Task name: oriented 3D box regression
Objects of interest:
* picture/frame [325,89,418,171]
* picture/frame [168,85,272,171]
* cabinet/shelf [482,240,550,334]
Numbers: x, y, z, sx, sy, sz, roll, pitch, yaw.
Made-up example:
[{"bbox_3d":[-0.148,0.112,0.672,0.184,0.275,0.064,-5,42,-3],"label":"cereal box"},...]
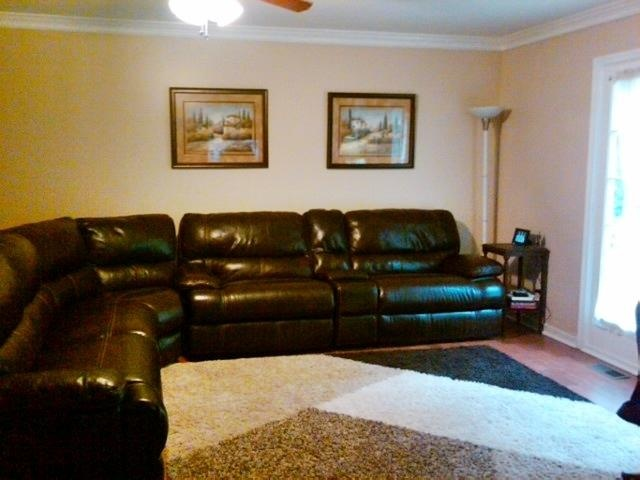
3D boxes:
[{"bbox_3d":[0.480,-1.162,5.367,0.847,0.719,0.074,-1,8,-4],"label":"picture/frame"},{"bbox_3d":[-1.017,-1.117,5.076,0.840,0.683,0.066,-1,6,-11],"label":"picture/frame"},{"bbox_3d":[1.744,0.402,5.188,0.533,0.734,0.569,5,3,-24],"label":"cabinet/shelf"}]
